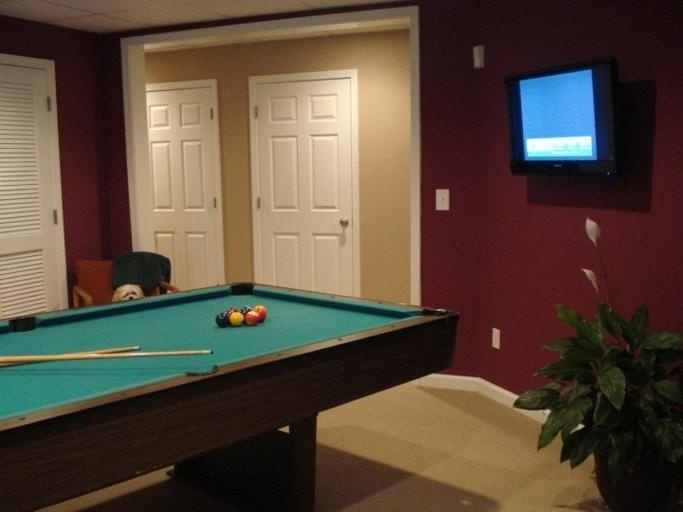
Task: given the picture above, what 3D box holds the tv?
[{"bbox_3d":[1.275,-0.771,3.269,0.100,0.621,0.788,-15,15,-22],"label":"tv"}]
